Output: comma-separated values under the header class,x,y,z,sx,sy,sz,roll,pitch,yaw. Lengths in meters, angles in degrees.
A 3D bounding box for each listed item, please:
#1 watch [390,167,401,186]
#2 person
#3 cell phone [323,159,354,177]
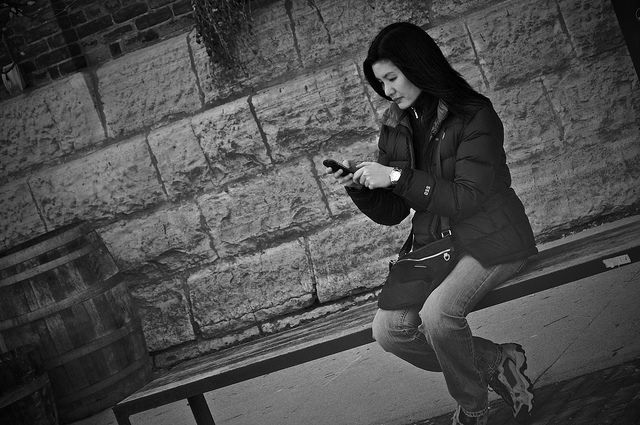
class,x,y,z,sx,sy,sz,roll,pitch,yaw
watch,0.415,-0.200,3.832,0.075,0.082,0.028,27,9,40
person,0.676,0.082,3.976,0.969,1.873,0.509,-15,5,14
cell phone,0.104,-0.262,4.032,0.158,0.037,0.085,25,-2,-1
